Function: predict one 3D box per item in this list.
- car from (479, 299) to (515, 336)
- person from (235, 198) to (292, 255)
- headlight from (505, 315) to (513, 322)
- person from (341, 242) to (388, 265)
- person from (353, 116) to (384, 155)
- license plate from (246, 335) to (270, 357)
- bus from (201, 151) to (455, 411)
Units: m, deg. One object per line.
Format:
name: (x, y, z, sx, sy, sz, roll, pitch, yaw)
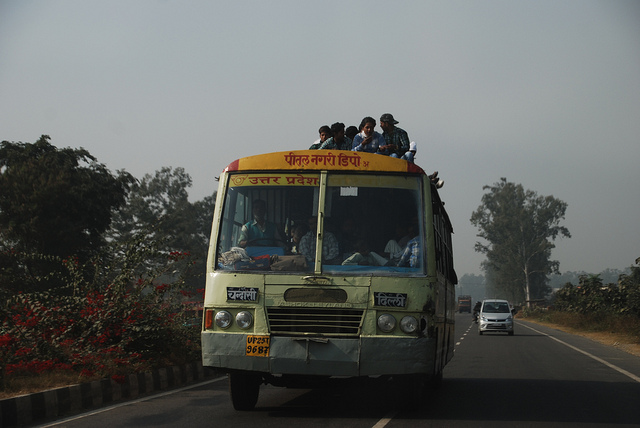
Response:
car: (10.586, 6.219, 34.080, 1.979, 1.560, 2.748, -3, 0, 17)
person: (-1.016, 0.401, 9.761, 0.804, 1.346, 0.713, -1, -15, -20)
headlight: (11.035, 6.004, 33.366, 0.240, 0.192, 0.421, 3, 4, 27)
person: (0.717, 0.689, 9.355, 0.796, 0.512, 0.360, -4, -5, -1)
person: (1.044, -1.653, 12.260, 0.666, 0.999, 0.745, -1, 4, -17)
license plate: (-0.973, 2.077, 9.082, 0.301, 0.291, 0.044, -2, -11, 16)
bus: (-0.213, -0.433, 12.883, 3.913, 4.234, 8.056, 3, 21, -2)
